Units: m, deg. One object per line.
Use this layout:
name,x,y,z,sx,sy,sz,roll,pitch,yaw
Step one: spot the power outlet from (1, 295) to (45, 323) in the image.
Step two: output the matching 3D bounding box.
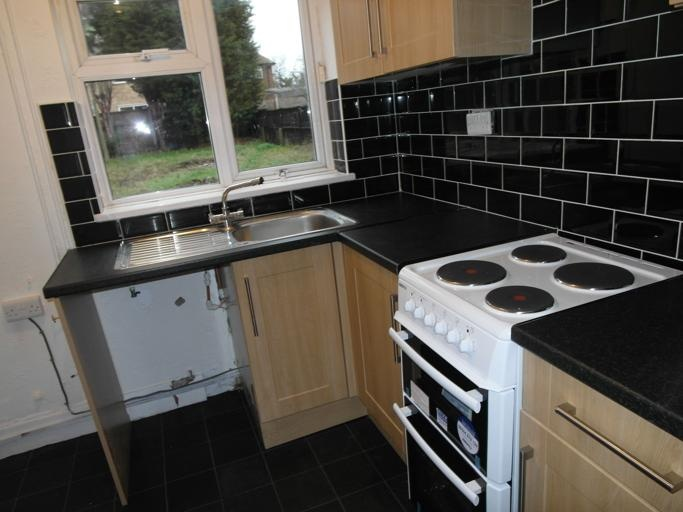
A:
power outlet,-1.619,0.263,2.596,0.164,0.115,0.025,-8,17,-21

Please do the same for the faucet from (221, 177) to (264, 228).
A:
faucet,-0.532,-0.311,2.773,0.249,0.244,0.304,-11,20,-9

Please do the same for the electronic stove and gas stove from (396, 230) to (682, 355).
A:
electronic stove and gas stove,0.538,0.098,1.772,0.539,0.146,0.481,-14,22,-24
